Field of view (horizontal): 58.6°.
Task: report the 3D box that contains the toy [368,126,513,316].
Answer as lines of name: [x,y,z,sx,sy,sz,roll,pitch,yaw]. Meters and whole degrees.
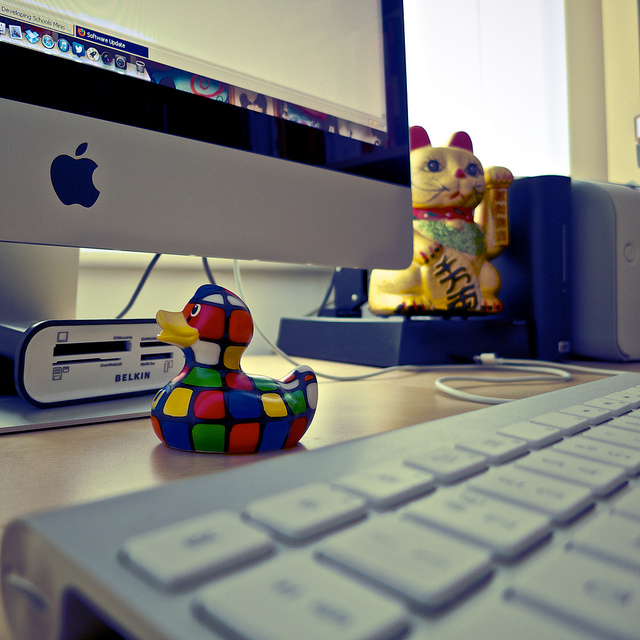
toy: [0.156,-0.122,0.732,0.165,0.238,0.131,0,1,-7]

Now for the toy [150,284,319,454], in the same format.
toy: [-0.042,0.026,0.301,0.086,0.084,0.059,3,-9,-20]

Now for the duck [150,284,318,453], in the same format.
duck: [-0.042,0.027,0.301,0.086,0.084,0.060,4,-7,-23]
